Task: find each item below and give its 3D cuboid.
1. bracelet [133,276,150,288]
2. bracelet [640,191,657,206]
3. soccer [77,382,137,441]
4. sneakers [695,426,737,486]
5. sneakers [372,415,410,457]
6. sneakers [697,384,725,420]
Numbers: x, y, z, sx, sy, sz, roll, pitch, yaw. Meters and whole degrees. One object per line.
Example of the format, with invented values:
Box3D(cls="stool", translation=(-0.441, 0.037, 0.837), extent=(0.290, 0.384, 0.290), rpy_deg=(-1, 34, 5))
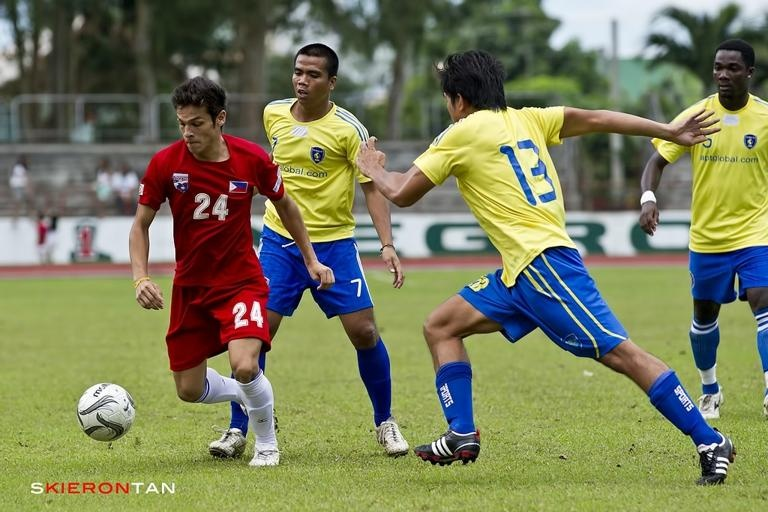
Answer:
Box3D(cls="bracelet", translation=(-1.936, 0.225, 9.075), extent=(0.098, 0.107, 0.046), rpy_deg=(1, 26, 25))
Box3D(cls="bracelet", translation=(2.358, -0.504, 9.960), extent=(0.129, 0.120, 0.153), rpy_deg=(-1, 1, 1))
Box3D(cls="soccer", translation=(-2.289, 1.304, 9.314), extent=(0.437, 0.468, 0.224), rpy_deg=(-3, 8, -15))
Box3D(cls="sneakers", translation=(2.585, 1.558, 8.679), extent=(0.246, 0.482, 0.176), rpy_deg=(24, -16, -23))
Box3D(cls="sneakers", translation=(0.074, 1.549, 9.705), extent=(0.154, 0.171, 0.382), rpy_deg=(-36, 18, -3))
Box3D(cls="sneakers", translation=(3.073, 1.364, 10.484), extent=(0.186, 0.211, 0.552), rpy_deg=(-15, 11, 28))
